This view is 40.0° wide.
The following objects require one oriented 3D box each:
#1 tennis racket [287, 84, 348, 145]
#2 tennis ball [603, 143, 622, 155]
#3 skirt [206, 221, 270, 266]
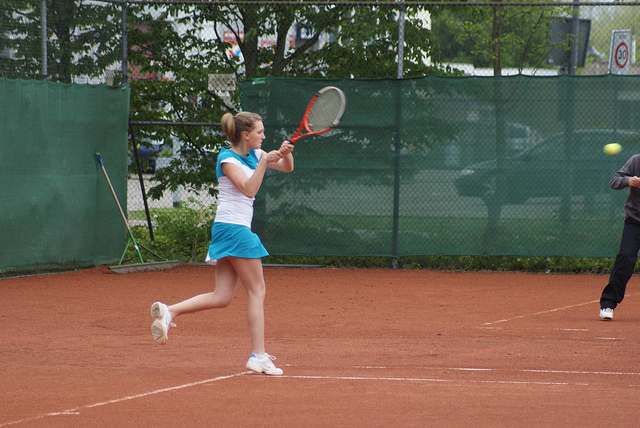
[{"bbox_3d":[-0.005,-1.314,11.468,0.493,0.639,0.825,-4,11,-29],"label":"tennis racket"},{"bbox_3d":[4.617,-1.012,14.003,0.234,0.130,0.235,-2,-3,0],"label":"tennis ball"},{"bbox_3d":[-0.982,0.368,10.433,0.722,0.543,0.297,1,9,-4],"label":"skirt"}]
